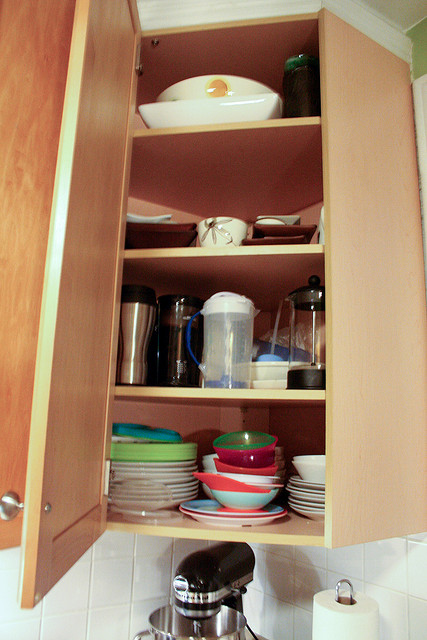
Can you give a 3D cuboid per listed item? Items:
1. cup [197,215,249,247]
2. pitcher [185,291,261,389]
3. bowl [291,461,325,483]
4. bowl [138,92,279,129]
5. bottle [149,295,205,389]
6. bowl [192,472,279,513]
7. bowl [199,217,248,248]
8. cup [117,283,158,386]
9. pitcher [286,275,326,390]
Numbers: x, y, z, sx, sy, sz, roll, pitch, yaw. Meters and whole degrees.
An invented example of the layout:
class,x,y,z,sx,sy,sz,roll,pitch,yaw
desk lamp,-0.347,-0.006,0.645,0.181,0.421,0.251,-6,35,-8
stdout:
class,x,y,z,sx,sy,sz,roll,pitch,yaw
cup,0.018,-0.175,1.008,0.070,0.046,0.071,0,-2,0
pitcher,0.018,0.030,1.018,0.124,0.210,0.138,3,4,-1
bowl,0.183,0.281,0.949,0.036,0.037,0.093,7,-12,-18
bowl,-0.006,-0.410,0.998,0.139,0.030,0.139,-5,10,1
bottle,-0.078,0.041,1.073,0.104,0.185,0.106,2,3,0
bowl,0.043,0.330,0.978,0.179,0.074,0.159,2,-14,2
bowl,0.024,-0.158,1.012,0.071,0.047,0.074,1,0,0
cup,-0.153,0.030,0.991,0.066,0.192,0.047,6,-11,-10
pitcher,0.172,0.024,0.944,0.068,0.213,0.125,2,-11,8
